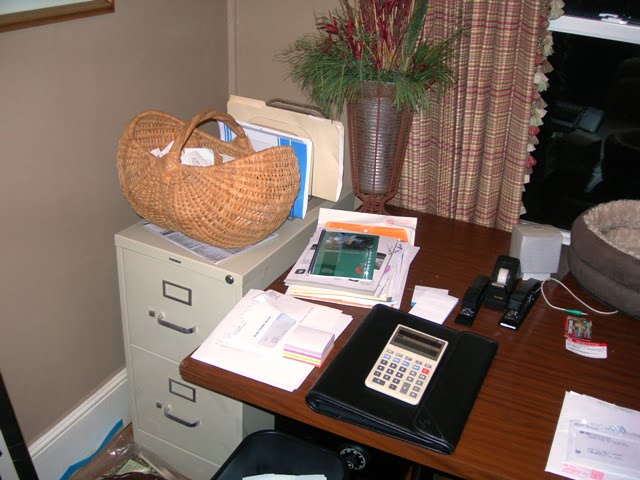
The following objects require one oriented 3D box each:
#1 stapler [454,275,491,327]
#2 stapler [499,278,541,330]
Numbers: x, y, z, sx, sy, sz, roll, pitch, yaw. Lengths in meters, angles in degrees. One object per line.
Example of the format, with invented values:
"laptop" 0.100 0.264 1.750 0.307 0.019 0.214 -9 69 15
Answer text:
"stapler" 0.409 0.152 1.251 0.039 0.039 0.164 9 40 36
"stapler" 0.548 0.158 1.280 0.061 0.060 0.205 14 39 38
